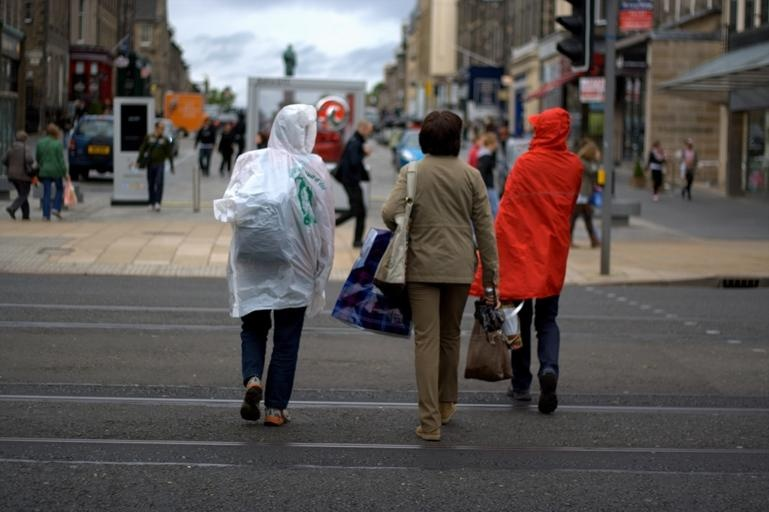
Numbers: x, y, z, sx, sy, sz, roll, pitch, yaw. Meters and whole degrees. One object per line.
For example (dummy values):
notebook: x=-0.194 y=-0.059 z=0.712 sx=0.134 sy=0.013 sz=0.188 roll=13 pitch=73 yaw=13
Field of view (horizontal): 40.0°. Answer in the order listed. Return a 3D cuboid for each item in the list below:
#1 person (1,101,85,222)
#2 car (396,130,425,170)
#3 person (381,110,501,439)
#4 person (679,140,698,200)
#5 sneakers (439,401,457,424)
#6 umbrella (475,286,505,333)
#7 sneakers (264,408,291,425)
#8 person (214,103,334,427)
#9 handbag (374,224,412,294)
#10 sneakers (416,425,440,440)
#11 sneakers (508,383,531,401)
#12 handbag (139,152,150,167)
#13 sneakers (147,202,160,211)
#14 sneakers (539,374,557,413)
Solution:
person: x=-6.884 y=-1.653 z=21.079 sx=1.567 sy=1.949 sz=0.830 roll=-10 pitch=16 yaw=-43
car: x=0.848 y=-3.688 z=36.713 sx=1.257 sy=1.156 sz=2.655 roll=-1 pitch=8 yaw=-7
person: x=0.525 y=0.156 z=9.482 sx=0.678 sy=2.811 sz=0.822 roll=8 pitch=13 yaw=33
person: x=8.352 y=-2.337 z=29.050 sx=0.391 sy=1.596 sz=1.243 roll=4 pitch=12 yaw=15
sneakers: x=0.581 y=1.427 z=9.684 sx=0.085 sy=0.111 sz=0.259 roll=3 pitch=10 yaw=9
umbrella: x=0.988 y=0.557 z=9.923 sx=0.363 sy=0.175 sz=0.505 roll=17 pitch=-27 yaw=22
sneakers: x=-0.955 y=1.452 z=9.628 sx=0.097 sy=0.129 sz=0.265 roll=8 pitch=10 yaw=32
person: x=-0.983 y=0.083 z=9.697 sx=1.078 sy=2.847 sz=0.784 roll=-3 pitch=12 yaw=-20
handbag: x=0.073 y=0.027 z=9.374 sx=0.297 sy=0.647 sz=0.190 roll=0 pitch=11 yaw=-6
sneakers: x=0.400 y=1.553 z=9.403 sx=0.221 sy=0.122 sz=0.146 roll=1 pitch=12 yaw=1
sneakers: x=1.320 y=1.322 z=10.347 sx=0.099 sy=0.117 sz=0.253 roll=0 pitch=12 yaw=-9
handbag: x=-5.376 y=-2.150 z=23.693 sx=0.101 sy=0.343 sz=0.265 roll=8 pitch=13 yaw=32
sneakers: x=-5.137 y=-1.102 z=23.784 sx=0.248 sy=0.186 sz=0.318 roll=-1 pitch=12 yaw=-10
sneakers: x=1.556 y=1.282 z=10.017 sx=0.155 sy=0.386 sz=0.175 roll=0 pitch=1 yaw=7
